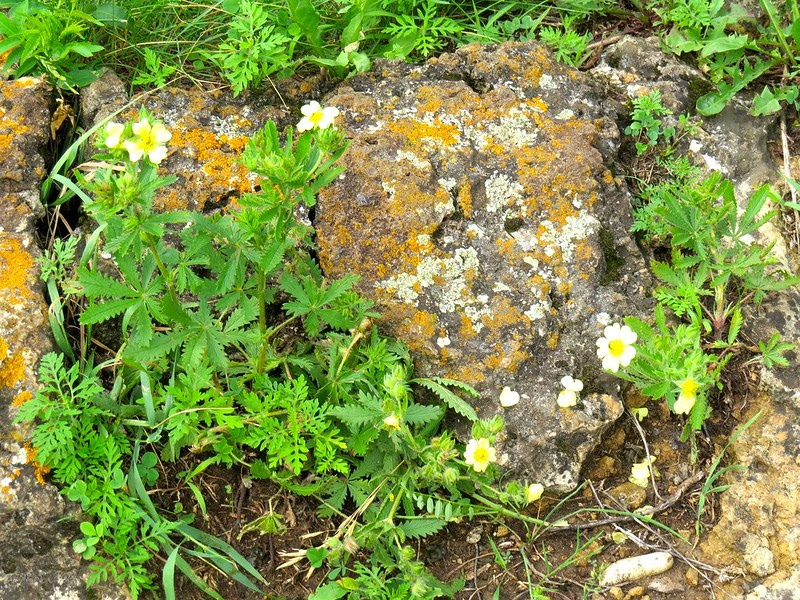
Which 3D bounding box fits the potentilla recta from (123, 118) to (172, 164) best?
[{"bbox_3d":[-1.160,-0.726,3.678,0.188,0.130,0.209,6,86,1],"label":"potentilla recta"}]
